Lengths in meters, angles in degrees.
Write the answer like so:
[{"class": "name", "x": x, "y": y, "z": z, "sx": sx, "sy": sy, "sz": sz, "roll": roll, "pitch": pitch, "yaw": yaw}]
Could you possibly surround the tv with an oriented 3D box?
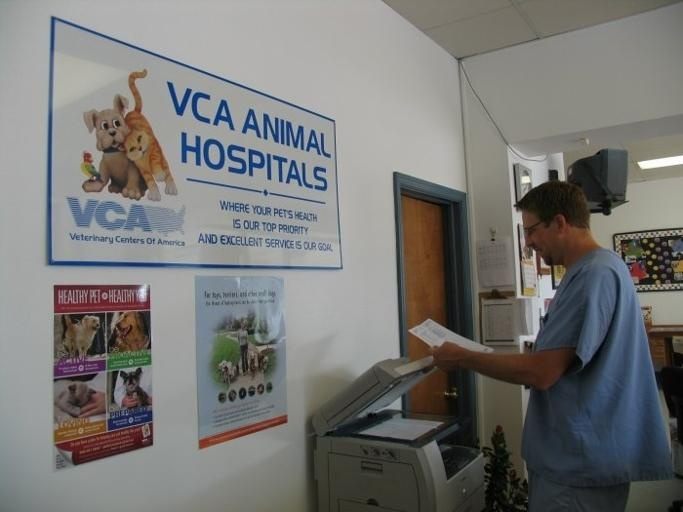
[{"class": "tv", "x": 1.624, "y": -0.451, "z": 3.444, "sx": 0.250, "sy": 0.414, "sz": 0.359, "roll": 6, "pitch": -13, "yaw": -2}]
